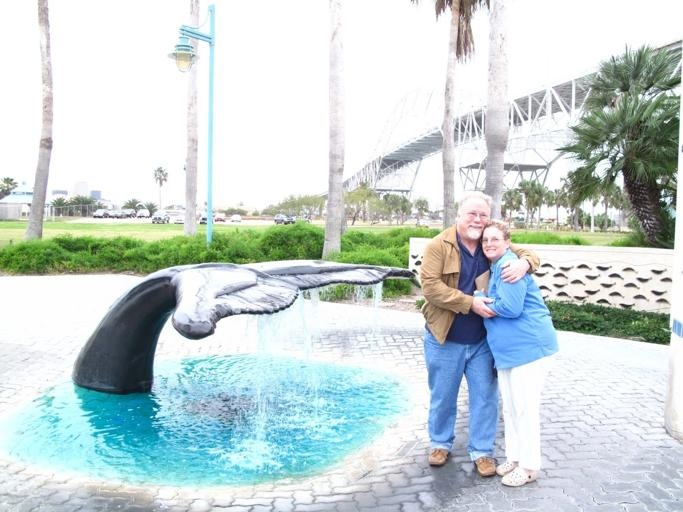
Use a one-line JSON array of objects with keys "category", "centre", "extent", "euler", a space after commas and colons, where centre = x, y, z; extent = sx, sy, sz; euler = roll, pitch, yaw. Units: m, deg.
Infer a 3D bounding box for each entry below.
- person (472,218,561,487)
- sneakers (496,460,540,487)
[{"category": "person", "centre": [1.525, 0.832, 4.390], "extent": [0.660, 2.237, 0.516], "euler": [4, 10, 24]}, {"category": "sneakers", "centre": [1.539, 1.882, 4.381], "extent": [0.290, 0.099, 0.164], "euler": [1, 14, -4]}]
